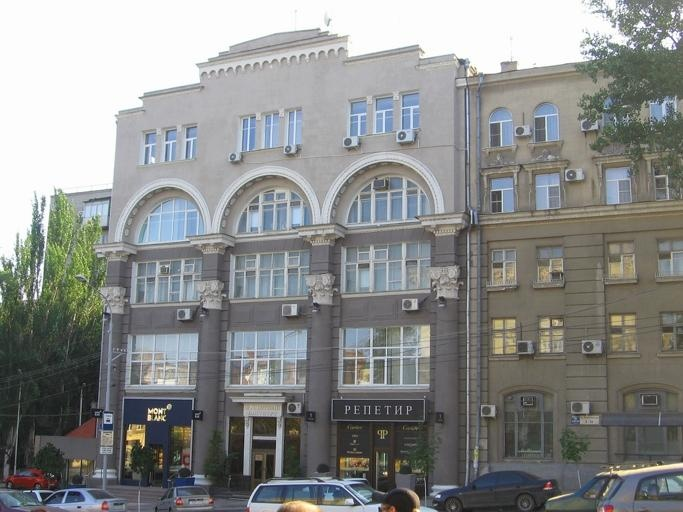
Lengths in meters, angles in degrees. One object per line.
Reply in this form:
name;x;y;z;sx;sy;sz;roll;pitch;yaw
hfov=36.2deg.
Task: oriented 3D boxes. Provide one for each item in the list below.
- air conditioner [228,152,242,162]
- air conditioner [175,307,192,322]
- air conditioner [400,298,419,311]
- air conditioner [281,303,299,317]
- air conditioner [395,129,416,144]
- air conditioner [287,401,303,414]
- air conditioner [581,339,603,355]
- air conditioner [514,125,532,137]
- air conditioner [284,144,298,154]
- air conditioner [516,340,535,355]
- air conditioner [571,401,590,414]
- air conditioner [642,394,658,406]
air conditioner;-6.158;-5.686;60.446;0.806;0.621;0.484;-10;-27;26
air conditioner;-9.012;3.307;60.304;1.019;0.896;0.666;-4;-15;12
air conditioner;3.640;2.609;55.123;1.021;0.745;0.589;-9;-27;29
air conditioner;-2.850;2.955;57.900;1.032;0.853;0.603;-8;-16;25
air conditioner;3.508;-6.425;56.594;1.131;0.820;0.684;-10;-29;27
air conditioner;-2.518;8.285;56.639;0.944;0.689;0.530;-7;-15;28
air conditioner;12.443;4.524;51.913;1.173;0.855;0.652;-4;-21;18
air conditioner;9.516;-6.559;54.966;0.900;0.669;0.528;-9;-21;35
air conditioner;-2.833;-6.062;59.199;0.848;0.575;0.552;-2;-15;5
air conditioner;9.378;4.716;53.240;0.947;0.815;0.645;-1;-8;11
air conditioner;11.898;7.562;51.832;1.003;0.717;0.590;-4;-16;23
air conditioner;15.161;7.093;51.323;0.958;0.702;0.499;-2;-4;25
